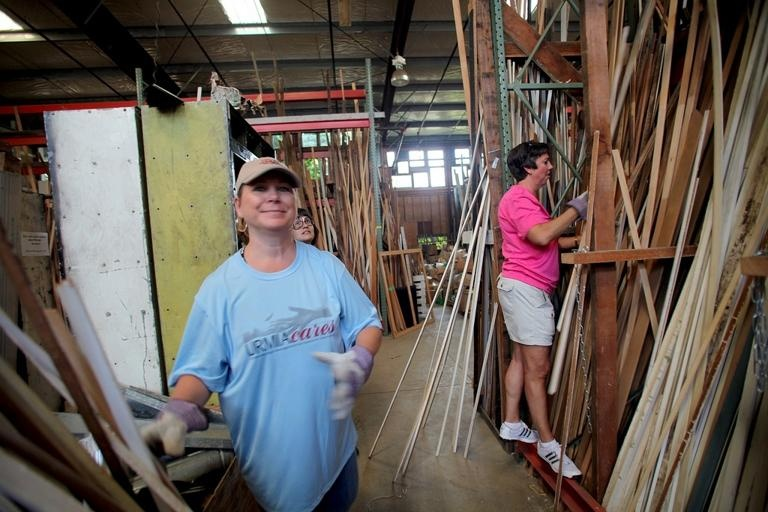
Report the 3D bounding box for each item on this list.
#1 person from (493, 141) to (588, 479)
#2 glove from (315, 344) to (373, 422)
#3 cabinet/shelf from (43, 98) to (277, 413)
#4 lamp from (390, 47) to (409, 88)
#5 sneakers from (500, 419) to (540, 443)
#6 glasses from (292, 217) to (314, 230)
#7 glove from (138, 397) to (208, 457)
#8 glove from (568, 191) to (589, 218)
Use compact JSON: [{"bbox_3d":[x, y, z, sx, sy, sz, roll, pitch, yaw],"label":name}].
[{"bbox_3d":[1.054,0.335,3.674,0.387,2.234,0.701,-10,10,-36],"label":"person"},{"bbox_3d":[-0.177,0.605,2.623,0.252,0.353,0.095,2,-2,7],"label":"glove"},{"bbox_3d":[-1.569,-0.194,5.096,1.472,2.765,2.738,0,6,-2],"label":"cabinet/shelf"},{"bbox_3d":[0.239,-3.015,8.486,0.252,0.446,0.266,1,25,11],"label":"lamp"},{"bbox_3d":[0.953,1.254,3.864,0.302,0.146,0.122,0,8,-7],"label":"sneakers"},{"bbox_3d":[-0.679,-0.285,4.548,0.165,0.056,0.164,-9,-1,25],"label":"glasses"},{"bbox_3d":[-0.979,0.804,2.534,0.144,0.140,0.411,-10,-2,0],"label":"glove"},{"bbox_3d":[1.233,-0.317,3.362,0.143,0.147,0.062,-28,24,-14],"label":"glove"}]
